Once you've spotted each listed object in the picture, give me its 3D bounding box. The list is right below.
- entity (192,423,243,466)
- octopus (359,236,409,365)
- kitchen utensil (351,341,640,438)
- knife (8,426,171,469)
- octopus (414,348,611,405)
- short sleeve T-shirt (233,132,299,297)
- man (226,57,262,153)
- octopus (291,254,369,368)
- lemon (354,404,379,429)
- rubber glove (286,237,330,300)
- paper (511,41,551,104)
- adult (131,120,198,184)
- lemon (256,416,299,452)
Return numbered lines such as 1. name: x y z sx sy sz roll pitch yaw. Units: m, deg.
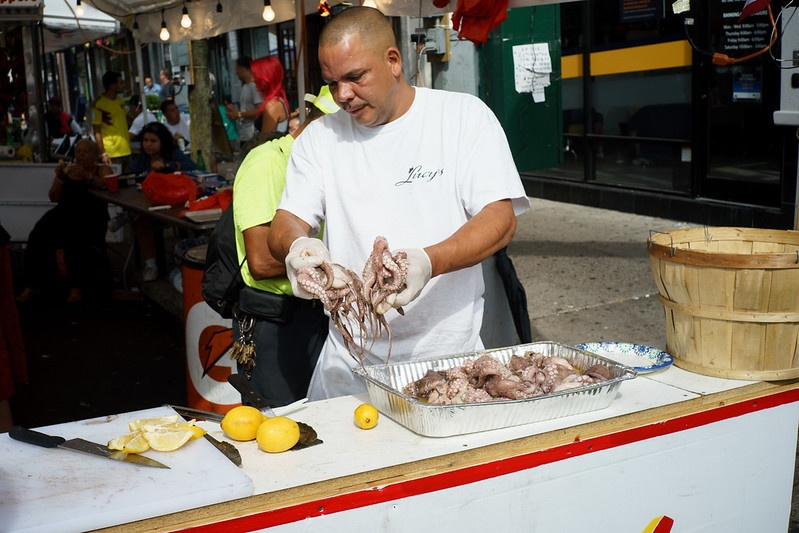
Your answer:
1. entity: -0.802 0.770 3.067 0.093 0.041 0.367 -12 34 -45
2. octopus: -0.068 0.135 3.111 0.193 0.212 0.630 0 39 4
3. kitchen utensil: 0.323 0.486 3.155 0.624 0.129 0.982 27 -24 -27
4. knife: -1.327 0.763 2.970 0.767 0.145 0.085 -1 12 16
5. octopus: 0.468 0.508 3.154 0.594 0.098 0.364 -7 12 -18
6. short sleeve T-shirt: -0.757 -0.265 3.983 0.294 0.722 0.714 0 29 -5
7. man: -2.667 -2.374 11.871 0.559 2.165 0.680 -4 19 -25
8. octopus: -0.284 0.175 3.136 0.290 0.133 0.524 -18 62 -37
9. lemon: -0.157 0.673 3.210 0.095 0.105 0.115 6 5 -1
10. rubber glove: -0.414 0.002 3.294 0.253 0.216 0.111 7 45 29
11. paper: 1.994 -2.949 10.536 0.665 1.028 0.072 -8 6 -1
12. adult: -3.108 -1.538 9.148 0.751 0.686 1.192 -10 14 -26
13. lemon: -0.529 0.716 2.999 0.155 0.135 0.132 -7 46 -13
